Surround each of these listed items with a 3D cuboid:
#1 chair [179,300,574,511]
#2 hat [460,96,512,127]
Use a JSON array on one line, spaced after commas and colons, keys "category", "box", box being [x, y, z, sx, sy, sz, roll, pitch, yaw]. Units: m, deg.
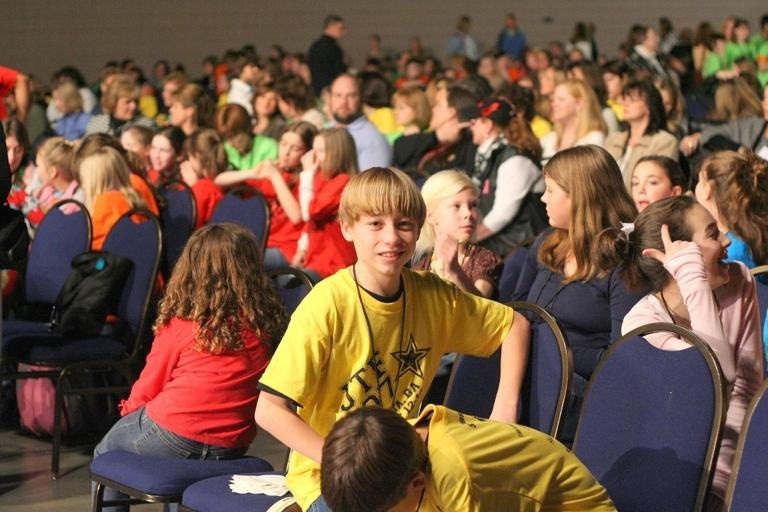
[{"category": "chair", "box": [-0.069, 0.891, 8.035, 2.199, 1.280, 0.873, 2, -4, -9]}, {"category": "hat", "box": [0.791, -1.120, 10.374, 0.350, 0.147, 0.222, 8, 12, 25]}]
